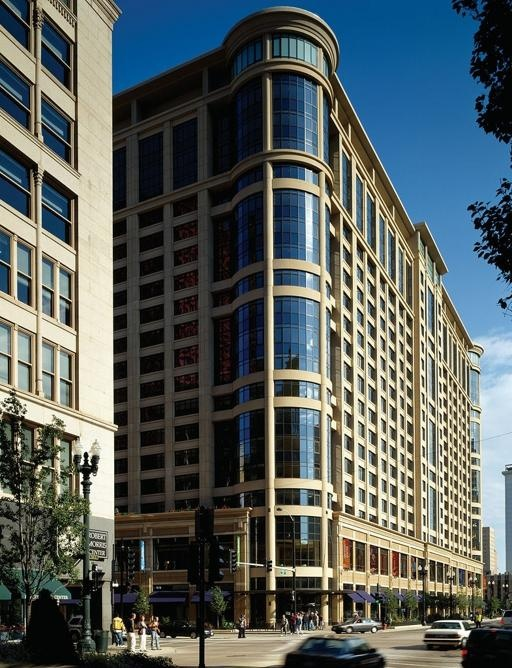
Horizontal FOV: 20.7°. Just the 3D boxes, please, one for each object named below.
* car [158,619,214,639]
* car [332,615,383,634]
[{"bbox_3d":[-4.437,17.570,83.067,2.682,0.988,1.302,-9,-14,25],"label":"car"},{"bbox_3d":[6.099,17.937,85.930,2.763,0.909,1.171,18,-27,-32],"label":"car"}]
